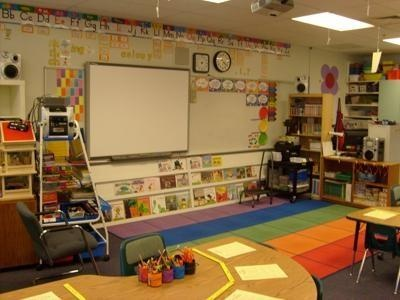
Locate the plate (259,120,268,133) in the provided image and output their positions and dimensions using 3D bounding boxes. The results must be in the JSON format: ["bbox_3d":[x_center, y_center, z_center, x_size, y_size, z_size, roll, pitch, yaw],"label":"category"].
[{"bbox_3d":[1.668,-0.625,8.001,0.324,0.293,0.054,-6,10,-40],"label":"plate"}]

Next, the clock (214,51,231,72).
[{"bbox_3d":[0.503,-2.048,7.121,0.497,0.516,0.094,1,-3,-41],"label":"clock"}]

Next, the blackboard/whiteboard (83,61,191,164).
[{"bbox_3d":[-1.321,-0.760,6.033,2.044,1.673,0.211,-2,4,-37],"label":"blackboard/whiteboard"}]

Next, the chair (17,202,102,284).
[{"bbox_3d":[-1.826,1.215,3.938,0.851,1.081,0.646,-2,8,-40],"label":"chair"}]

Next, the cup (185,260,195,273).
[{"bbox_3d":[-0.080,0.977,2.589,0.091,0.092,0.070,3,-3,-35],"label":"cup"}]

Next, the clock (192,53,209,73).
[{"bbox_3d":[-0.003,-1.930,6.805,0.428,0.425,0.136,5,-5,-45],"label":"clock"}]

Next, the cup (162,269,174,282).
[{"bbox_3d":[-0.259,0.990,2.457,0.086,0.067,0.086,2,0,0],"label":"cup"}]

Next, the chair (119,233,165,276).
[{"bbox_3d":[-0.588,0.970,3.096,0.351,0.527,0.404,0,-1,-24],"label":"chair"}]

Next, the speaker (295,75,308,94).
[{"bbox_3d":[2.888,-1.850,8.635,0.333,0.520,0.705,4,9,22],"label":"speaker"}]

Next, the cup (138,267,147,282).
[{"bbox_3d":[-0.447,0.984,2.473,0.094,0.111,0.097,1,8,0],"label":"cup"}]

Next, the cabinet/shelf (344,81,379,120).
[{"bbox_3d":[5.338,-1.680,10.050,1.331,1.308,0.451,0,0,6],"label":"cabinet/shelf"}]

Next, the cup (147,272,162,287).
[{"bbox_3d":[-0.349,0.996,2.374,0.096,0.092,0.098,0,-1,0],"label":"cup"}]

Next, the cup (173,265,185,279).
[{"bbox_3d":[-0.172,0.989,2.491,0.088,0.089,0.089,0,-3,0],"label":"cup"}]

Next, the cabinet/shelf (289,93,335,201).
[{"bbox_3d":[2.899,-0.141,8.124,1.135,2.657,0.793,4,8,25],"label":"cabinet/shelf"}]
